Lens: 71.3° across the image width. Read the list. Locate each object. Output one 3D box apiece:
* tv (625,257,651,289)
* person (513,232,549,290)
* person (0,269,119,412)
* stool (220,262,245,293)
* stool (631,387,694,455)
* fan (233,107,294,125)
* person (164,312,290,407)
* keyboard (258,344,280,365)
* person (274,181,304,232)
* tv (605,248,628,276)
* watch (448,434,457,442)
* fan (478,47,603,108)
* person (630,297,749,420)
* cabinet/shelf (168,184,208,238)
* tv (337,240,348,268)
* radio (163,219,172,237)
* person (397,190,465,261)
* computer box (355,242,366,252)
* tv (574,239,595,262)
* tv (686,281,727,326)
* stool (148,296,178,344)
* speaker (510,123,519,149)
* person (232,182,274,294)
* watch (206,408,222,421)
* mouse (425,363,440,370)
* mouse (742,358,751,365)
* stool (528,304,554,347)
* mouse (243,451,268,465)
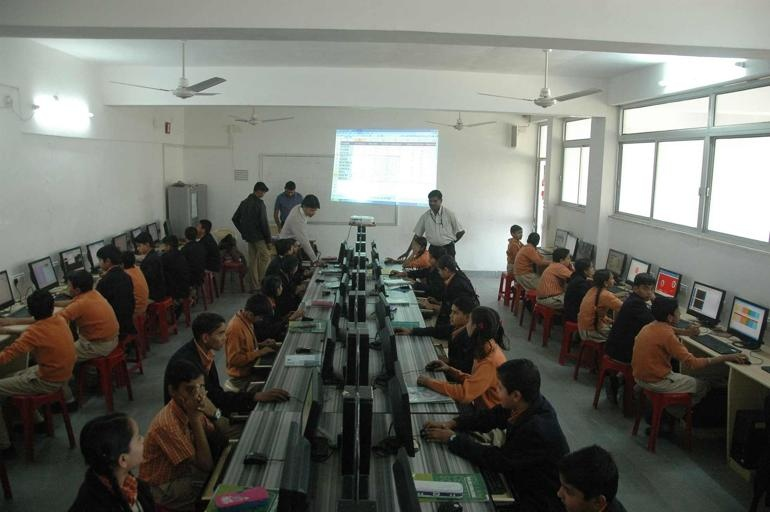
[{"bbox_3d":[3.213,0.207,6.775,0.131,0.377,0.371,6,7,-4],"label":"tv"},{"bbox_3d":[2.357,0.171,8.472,0.666,1.120,0.470,-4,6,-18],"label":"person"},{"bbox_3d":[-3.050,0.676,5.615,1.202,1.642,0.760,10,48,-19],"label":"person"},{"bbox_3d":[-2.691,0.323,9.517,0.534,0.579,0.539,0,5,-5],"label":"stool"},{"bbox_3d":[2.745,1.609,5.480,0.565,0.603,0.569,-1,2,-9],"label":"stool"},{"bbox_3d":[-2.364,-2.695,10.377,1.151,0.325,0.225,-1,13,-11],"label":"fan"},{"bbox_3d":[-1.299,0.897,4.624,0.816,1.184,0.431,-8,29,-14],"label":"person"},{"bbox_3d":[-1.134,0.961,5.268,0.182,0.053,0.199,-3,10,1],"label":"keyboard"},{"bbox_3d":[-1.696,-0.778,9.740,0.443,1.292,0.282,-9,-27,-5],"label":"person"},{"bbox_3d":[3.321,0.082,7.657,0.106,0.328,0.337,14,6,-14],"label":"tv"},{"bbox_3d":[0.480,1.278,3.800,0.045,0.045,0.029,21,13,-31],"label":"watch"},{"bbox_3d":[2.060,-2.240,6.920,1.311,0.637,1.866,1,13,1],"label":"fan"},{"bbox_3d":[3.024,1.045,5.552,0.883,1.331,0.933,1,10,17],"label":"person"},{"bbox_3d":[-3.560,-0.817,9.593,0.310,0.934,0.960,2,11,6],"label":"cabinet/shelf"},{"bbox_3d":[-0.595,-0.039,7.481,0.165,0.416,0.460,3,-2,-4],"label":"tv"},{"bbox_3d":[-3.845,-0.501,9.489,0.148,0.293,0.291,-3,24,-10],"label":"radio"},{"bbox_3d":[0.777,-0.576,8.939,1.126,1.920,0.661,2,19,15],"label":"person"},{"bbox_3d":[-0.248,-0.099,5.465,0.099,0.075,0.097,-5,7,-41],"label":"computer box"},{"bbox_3d":[3.068,-0.092,8.209,0.092,0.233,0.321,0,11,-17],"label":"tv"},{"bbox_3d":[3.682,0.541,6.106,0.193,0.424,0.425,8,5,-15],"label":"tv"},{"bbox_3d":[-2.993,0.832,7.232,0.505,0.562,0.514,0,3,-2],"label":"stool"},{"bbox_3d":[2.534,-2.337,10.476,0.163,0.431,0.101,3,13,8],"label":"speaker"},{"bbox_3d":[-2.204,-0.318,9.160,0.510,1.851,0.366,0,13,-6],"label":"person"},{"bbox_3d":[-1.267,1.172,4.000,0.093,0.062,0.082,6,-16,-43],"label":"watch"},{"bbox_3d":[0.406,0.951,4.610,0.129,0.087,0.065,-9,-23,26],"label":"mouse"},{"bbox_3d":[3.407,0.987,5.046,0.067,0.022,0.069,0,12,22],"label":"mouse"},{"bbox_3d":[2.254,0.868,7.671,0.343,0.558,0.887,5,14,16],"label":"stool"},{"bbox_3d":[-0.875,1.365,3.641,0.124,0.037,0.075,3,13,-7],"label":"mouse"}]
